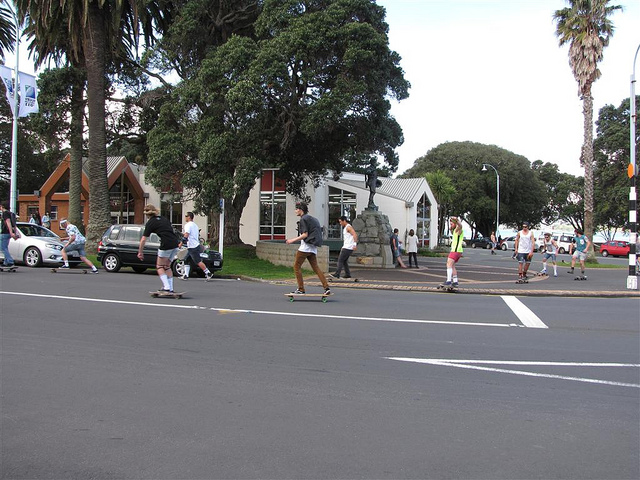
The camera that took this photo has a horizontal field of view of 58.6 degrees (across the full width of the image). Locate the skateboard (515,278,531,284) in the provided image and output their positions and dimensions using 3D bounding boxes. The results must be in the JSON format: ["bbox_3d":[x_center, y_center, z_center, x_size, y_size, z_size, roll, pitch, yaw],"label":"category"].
[{"bbox_3d":[6.796,1.368,19.110,0.096,0.150,0.327,-4,-10,-24],"label":"skateboard"}]

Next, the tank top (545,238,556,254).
[{"bbox_3d":[9.007,0.236,22.380,0.427,0.576,0.336,-11,8,16],"label":"tank top"}]

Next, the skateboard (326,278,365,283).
[{"bbox_3d":[0.747,1.277,18.019,0.939,0.144,0.335,1,2,-3],"label":"skateboard"}]

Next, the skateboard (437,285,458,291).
[{"bbox_3d":[3.563,1.362,16.207,0.229,0.147,0.603,-5,9,-45],"label":"skateboard"}]

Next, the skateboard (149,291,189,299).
[{"bbox_3d":[-3.579,1.244,13.115,0.681,0.142,0.266,0,-1,5],"label":"skateboard"}]

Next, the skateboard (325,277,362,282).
[{"bbox_3d":[0.694,1.255,18.098,0.886,0.140,0.354,-1,6,-3],"label":"skateboard"}]

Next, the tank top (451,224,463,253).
[{"bbox_3d":[3.862,0.030,16.163,0.266,0.639,0.449,2,6,7],"label":"tank top"}]

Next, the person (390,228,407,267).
[{"bbox_3d":[4.102,0.463,30.103,0.594,2.097,0.745,-8,39,8],"label":"person"}]

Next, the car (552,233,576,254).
[{"bbox_3d":[17.003,0.279,39.800,2.358,1.643,1.449,-2,2,29],"label":"car"}]

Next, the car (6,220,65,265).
[{"bbox_3d":[-9.947,0.151,20.085,2.386,1.204,1.185,0,0,18],"label":"car"}]

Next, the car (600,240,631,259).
[{"bbox_3d":[23.474,0.770,45.416,2.120,1.178,1.196,-5,-4,42],"label":"car"}]

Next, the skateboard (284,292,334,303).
[{"bbox_3d":[-0.281,1.301,13.314,1.211,0.191,0.399,-1,0,1],"label":"skateboard"}]

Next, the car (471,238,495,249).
[{"bbox_3d":[18.407,0.533,65.047,2.182,1.071,1.210,8,4,37],"label":"car"}]

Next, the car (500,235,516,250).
[{"bbox_3d":[18.017,0.320,54.855,0.987,1.027,1.867,0,10,13],"label":"car"}]
